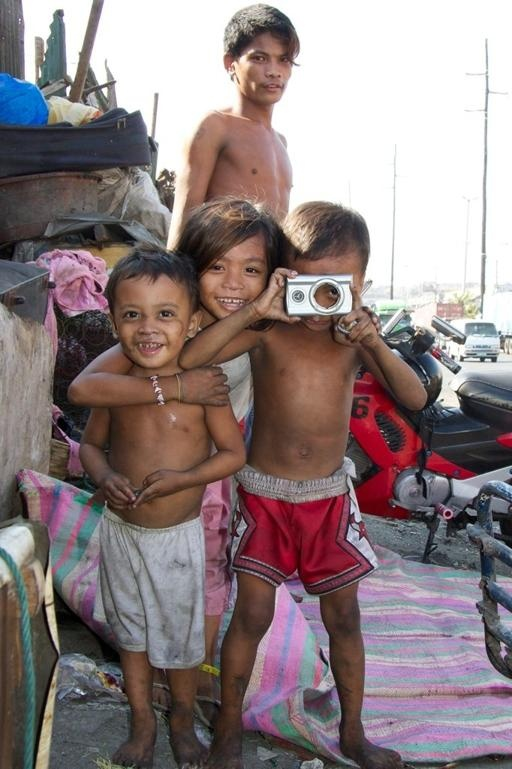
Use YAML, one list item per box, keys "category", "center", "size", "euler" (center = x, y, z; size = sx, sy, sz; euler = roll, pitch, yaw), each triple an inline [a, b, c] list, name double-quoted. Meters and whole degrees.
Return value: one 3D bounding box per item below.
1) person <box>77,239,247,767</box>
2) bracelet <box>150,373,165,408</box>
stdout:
- category: "person"
  center: [-0.252, 0.294, 1.620]
  size: [0.438, 1.302, 0.432]
  euler: [7, 6, -12]
- category: "bracelet"
  center: [-0.254, 0.012, 1.602]
  size: [0.047, 0.063, 0.025]
  euler: [12, 8, 37]
